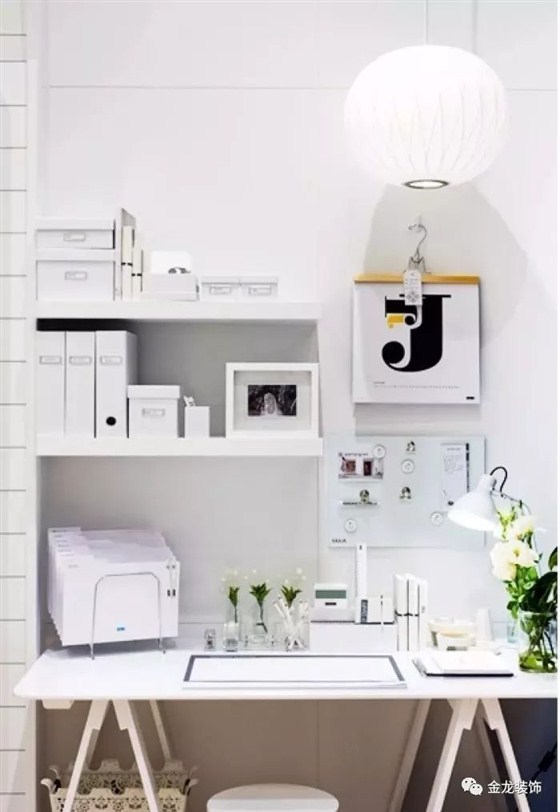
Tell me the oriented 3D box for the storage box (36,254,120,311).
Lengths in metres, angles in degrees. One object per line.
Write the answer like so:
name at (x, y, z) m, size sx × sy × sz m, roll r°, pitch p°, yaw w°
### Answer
storage box at (-0.544, -0.343, 2.379) m, size 0.209 × 0.111 × 0.036 m, roll 1°, pitch 0°, yaw 6°

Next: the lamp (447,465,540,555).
lamp at (0.580, 0.251, 2.409) m, size 0.177 × 0.194 × 0.117 m, roll 9°, pitch 15°, yaw 5°

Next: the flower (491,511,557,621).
flower at (0.638, 0.422, 2.395) m, size 0.166 × 0.285 × 0.157 m, roll 1°, pitch 0°, yaw 4°

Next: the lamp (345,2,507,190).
lamp at (0.350, -0.856, 2.292) m, size 0.350 × 0.598 × 0.412 m, roll -5°, pitch 4°, yaw -25°

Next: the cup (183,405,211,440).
cup at (-0.225, 0.047, 2.407) m, size 0.065 × 0.062 × 0.068 m, roll 1°, pitch 0°, yaw 0°
